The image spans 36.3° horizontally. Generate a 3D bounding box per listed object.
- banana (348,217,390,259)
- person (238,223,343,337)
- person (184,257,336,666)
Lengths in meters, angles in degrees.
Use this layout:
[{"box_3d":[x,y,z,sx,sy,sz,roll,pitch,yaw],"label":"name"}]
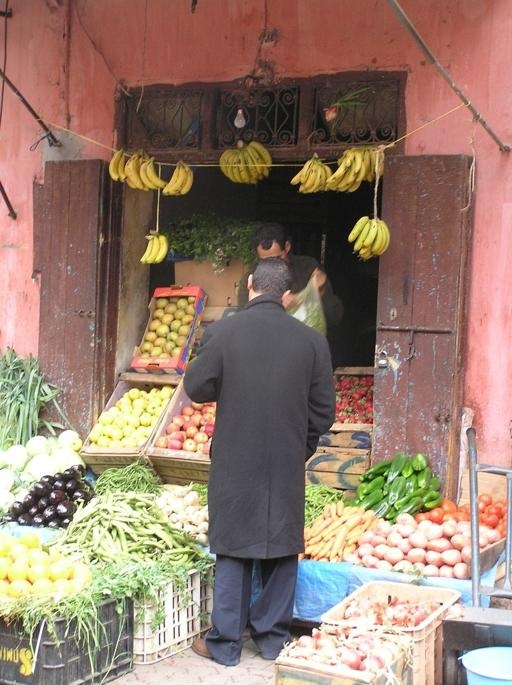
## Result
[{"box_3d":[0.648,-0.595,4.513,0.186,0.260,0.235,0,3,12],"label":"banana"},{"box_3d":[0.340,-0.410,4.943,0.498,0.821,0.545,-10,10,-44],"label":"person"},{"box_3d":[-0.035,0.497,3.537,0.614,1.795,0.536,0,0,-38],"label":"person"}]
